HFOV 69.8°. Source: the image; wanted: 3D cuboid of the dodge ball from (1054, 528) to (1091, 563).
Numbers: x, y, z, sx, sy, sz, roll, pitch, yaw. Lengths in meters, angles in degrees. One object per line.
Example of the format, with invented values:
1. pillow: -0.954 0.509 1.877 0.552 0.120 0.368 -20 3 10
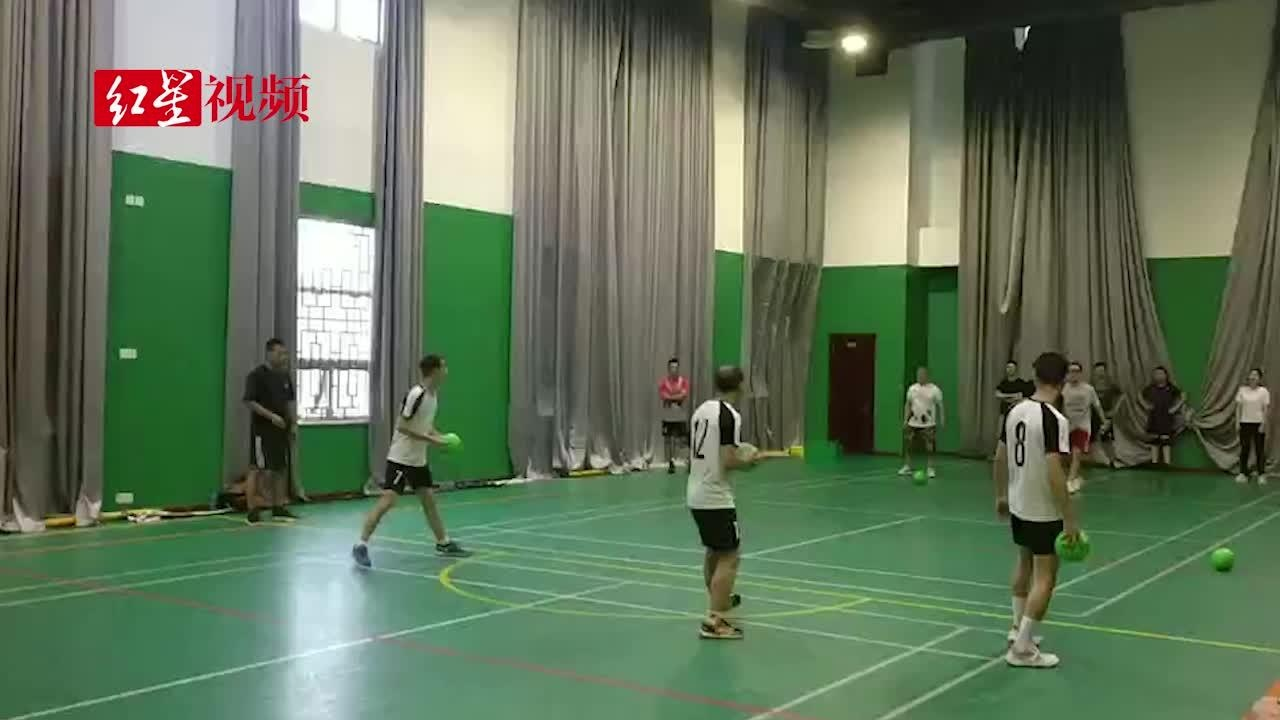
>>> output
1. dodge ball: 4.163 1.799 8.829 0.274 0.156 0.318 1 -2 -18

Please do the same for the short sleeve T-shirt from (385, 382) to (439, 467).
1. short sleeve T-shirt: -2.874 0.855 11.687 0.485 0.963 0.740 2 -12 19

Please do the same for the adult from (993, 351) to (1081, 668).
1. adult: 3.886 1.490 9.036 0.763 3.102 0.486 3 6 22

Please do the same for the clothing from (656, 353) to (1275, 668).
1. clothing: 3.125 1.512 9.113 5.696 4.772 2.004 -1 2 6

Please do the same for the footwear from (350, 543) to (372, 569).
1. footwear: -3.519 2.494 11.585 0.179 0.261 0.382 1 -9 -27

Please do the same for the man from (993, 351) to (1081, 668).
1. man: 3.886 1.490 9.036 0.763 3.102 0.486 3 6 22

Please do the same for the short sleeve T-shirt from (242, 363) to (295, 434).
1. short sleeve T-shirt: -5.765 0.604 14.241 0.753 1.058 0.530 -3 7 -31

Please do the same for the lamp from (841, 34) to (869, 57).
1. lamp: 5.504 -8.184 23.570 0.736 0.434 0.466 3 6 17
